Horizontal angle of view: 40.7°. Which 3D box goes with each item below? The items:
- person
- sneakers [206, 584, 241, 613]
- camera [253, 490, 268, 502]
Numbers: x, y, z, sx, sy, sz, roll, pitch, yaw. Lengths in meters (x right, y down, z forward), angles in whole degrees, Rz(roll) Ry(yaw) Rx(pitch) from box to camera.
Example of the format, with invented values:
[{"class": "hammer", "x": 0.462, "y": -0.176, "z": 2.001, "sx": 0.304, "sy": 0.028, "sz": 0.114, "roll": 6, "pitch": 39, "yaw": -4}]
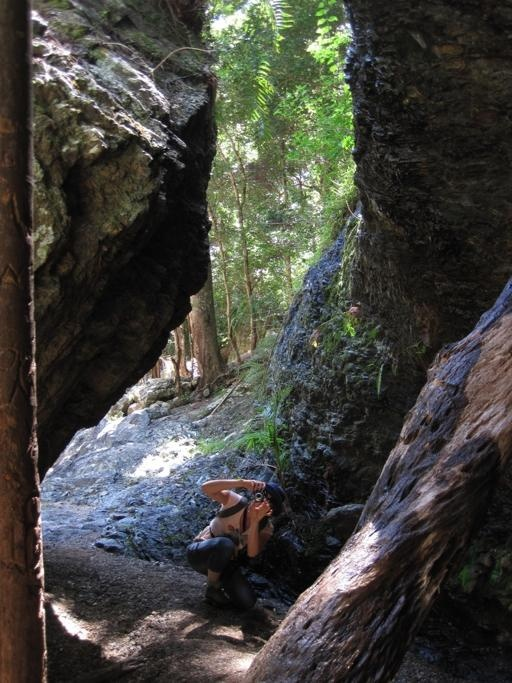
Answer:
[{"class": "person", "x": -0.142, "y": 1.713, "z": 5.626, "sx": 0.635, "sy": 0.704, "sz": 0.849, "roll": 38, "pitch": 35, "yaw": -20}, {"class": "sneakers", "x": -0.208, "y": 1.944, "z": 5.224, "sx": 0.343, "sy": 0.193, "sz": 0.116, "roll": -2, "pitch": 3, "yaw": 21}, {"class": "camera", "x": 0.022, "y": 1.216, "z": 5.371, "sx": 0.089, "sy": 0.078, "sz": 0.028, "roll": -26, "pitch": -20, "yaw": 10}]
